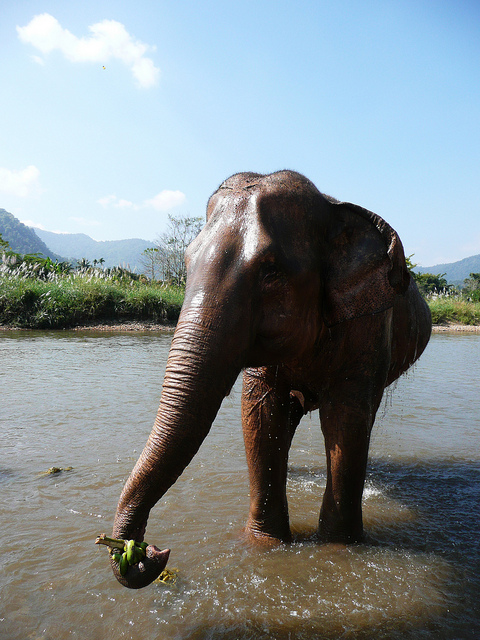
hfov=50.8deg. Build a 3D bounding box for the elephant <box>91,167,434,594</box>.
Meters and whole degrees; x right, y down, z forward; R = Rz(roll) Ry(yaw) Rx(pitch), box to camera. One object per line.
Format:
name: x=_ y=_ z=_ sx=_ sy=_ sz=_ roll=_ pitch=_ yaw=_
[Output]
elephant: x=0.359 y=0.267 z=2.462 sx=0.876 sy=1.635 sz=2.285 roll=2 pitch=1 yaw=37
